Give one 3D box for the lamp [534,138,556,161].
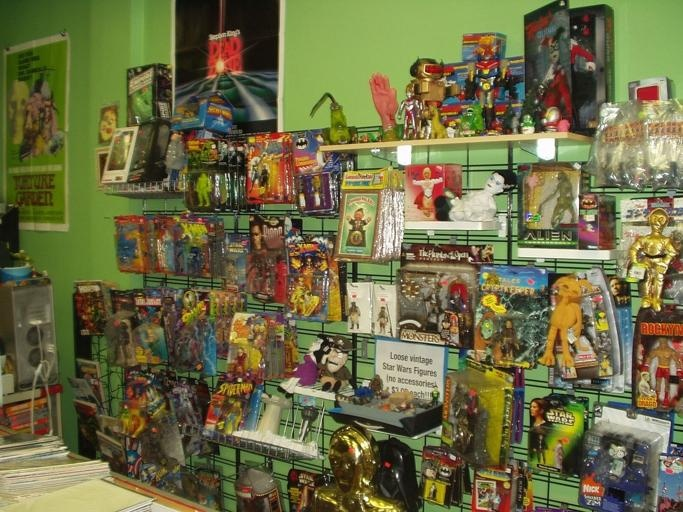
[{"bbox_3d":[0.951,-0.496,2.856,0.065,0.129,0.065,1,-4,-37],"label":"lamp"}]
